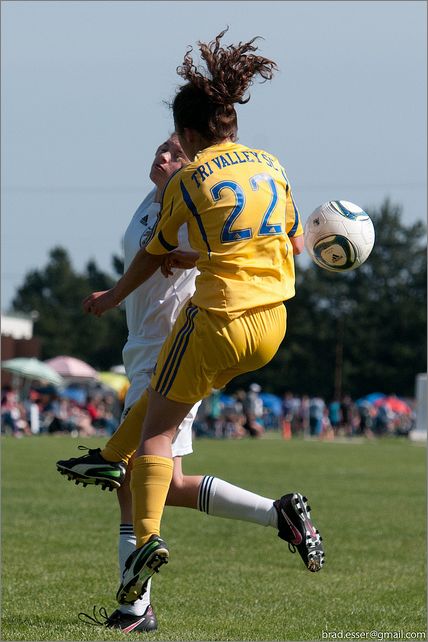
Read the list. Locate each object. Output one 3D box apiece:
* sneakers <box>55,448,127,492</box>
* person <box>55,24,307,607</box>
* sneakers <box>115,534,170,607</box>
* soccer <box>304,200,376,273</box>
[{"bbox_3d":[-0.444,0.519,3.163,0.275,0.133,0.080,6,-6,11],"label":"sneakers"},{"bbox_3d":[-0.100,-0.066,2.956,0.761,2.017,0.646,3,-5,4],"label":"person"},{"bbox_3d":[-0.243,0.816,2.840,0.116,0.254,0.211,6,-5,-28],"label":"sneakers"},{"bbox_3d":[0.530,-0.358,3.669,0.302,0.297,0.269,-1,35,6],"label":"soccer"}]
